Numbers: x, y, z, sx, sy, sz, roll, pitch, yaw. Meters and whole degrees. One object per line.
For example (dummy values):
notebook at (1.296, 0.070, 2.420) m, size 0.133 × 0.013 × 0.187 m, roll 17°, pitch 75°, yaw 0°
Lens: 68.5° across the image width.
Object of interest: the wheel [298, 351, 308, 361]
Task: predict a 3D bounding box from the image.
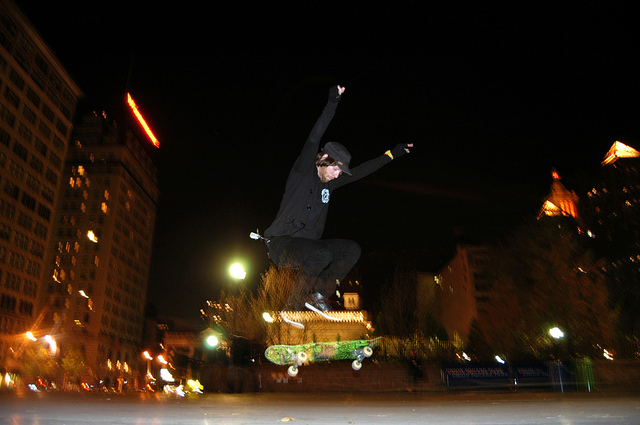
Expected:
wheel at (-0.578, 4.754, 15.675) m, size 0.264 × 0.326 × 0.458 m, roll -10°, pitch -27°, yaw 18°

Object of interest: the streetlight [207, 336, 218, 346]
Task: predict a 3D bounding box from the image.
streetlight at (-6.946, 8.148, 29.890) m, size 0.642 × 0.659 × 0.145 m, roll -1°, pitch 9°, yaw -40°

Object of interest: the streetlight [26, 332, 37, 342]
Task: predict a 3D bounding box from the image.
streetlight at (-42.393, 18.192, 68.862) m, size 0.757 × 0.652 × 2.542 m, roll -27°, pitch -28°, yaw -16°

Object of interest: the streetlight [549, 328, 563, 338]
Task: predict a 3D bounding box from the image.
streetlight at (19.042, 9.735, 38.035) m, size 0.929 × 0.222 × 0.870 m, roll 15°, pitch -47°, yaw -44°
